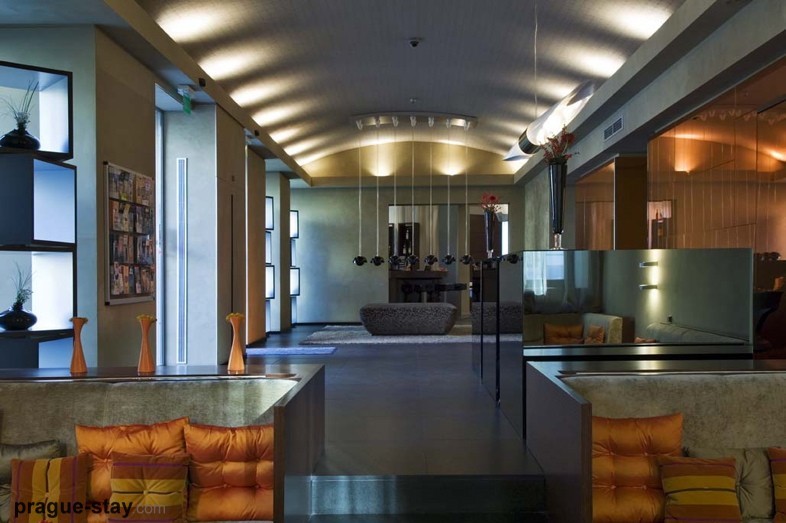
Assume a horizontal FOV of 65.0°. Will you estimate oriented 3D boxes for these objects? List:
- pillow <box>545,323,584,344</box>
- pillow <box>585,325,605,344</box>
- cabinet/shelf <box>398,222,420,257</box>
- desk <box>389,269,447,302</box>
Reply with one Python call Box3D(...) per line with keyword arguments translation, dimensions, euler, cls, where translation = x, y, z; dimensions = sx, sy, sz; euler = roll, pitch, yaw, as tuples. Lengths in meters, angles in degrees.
Box3D(translation=(1.488, 0.626, 5.368), dimensions=(0.219, 0.212, 0.075), euler=(-2, 1, 6), cls="pillow")
Box3D(translation=(1.757, 0.633, 5.320), dimensions=(0.142, 0.167, 0.074), euler=(12, 6, 40), cls="pillow")
Box3D(translation=(0.463, -0.632, 17.208), dimensions=(0.602, 0.902, 0.216), euler=(-1, -4, -4), cls="cabinet/shelf")
Box3D(translation=(0.597, 0.671, 16.323), dimensions=(1.465, 1.332, 0.857), euler=(0, -5, -8), cls="desk")
